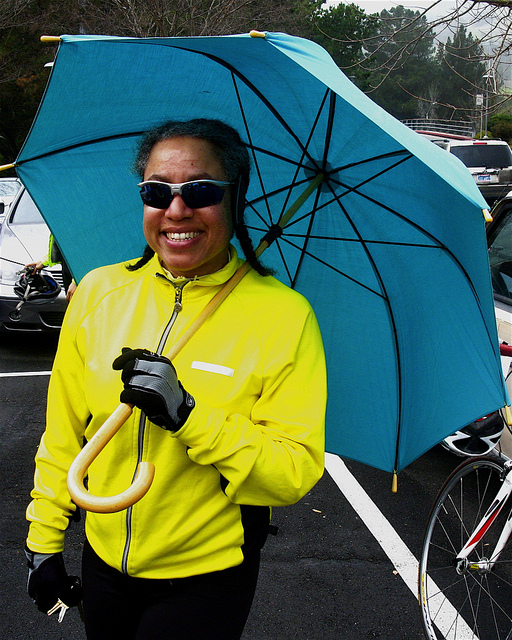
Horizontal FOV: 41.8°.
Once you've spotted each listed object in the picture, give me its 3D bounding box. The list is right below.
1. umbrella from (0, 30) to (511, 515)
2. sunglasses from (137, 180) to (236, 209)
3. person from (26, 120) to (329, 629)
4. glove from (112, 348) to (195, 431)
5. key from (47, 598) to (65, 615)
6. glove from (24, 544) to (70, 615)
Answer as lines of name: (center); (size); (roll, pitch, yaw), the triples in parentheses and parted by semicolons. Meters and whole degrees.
umbrella: (-0.001, -0.082, 2.016); (1.447, 1.336, 0.807); (2, 6, 17)
sunglasses: (-0.189, -0.330, 1.773); (0.236, 0.078, 0.089); (0, 6, -5)
person: (-0.230, 0.115, 1.815); (0.815, 1.421, 0.670); (-5, 8, -39)
glove: (-0.229, 0.159, 1.502); (0.183, 0.184, 0.115); (-1, 6, -6)
key: (-0.556, 0.796, 1.869); (0.034, 0.052, 0.029); (51, 0, -36)
glove: (-0.568, 0.714, 1.890); (0.140, 0.172, 0.074); (-28, -18, 39)
